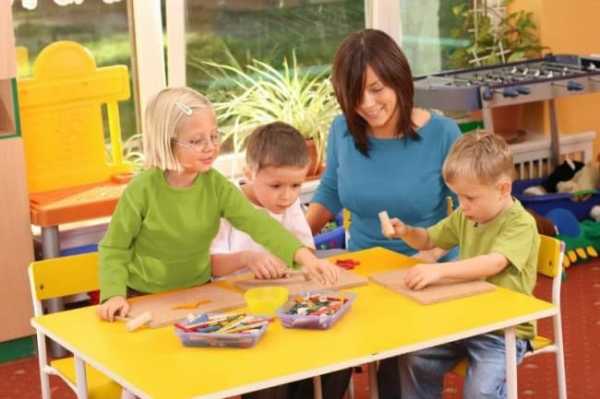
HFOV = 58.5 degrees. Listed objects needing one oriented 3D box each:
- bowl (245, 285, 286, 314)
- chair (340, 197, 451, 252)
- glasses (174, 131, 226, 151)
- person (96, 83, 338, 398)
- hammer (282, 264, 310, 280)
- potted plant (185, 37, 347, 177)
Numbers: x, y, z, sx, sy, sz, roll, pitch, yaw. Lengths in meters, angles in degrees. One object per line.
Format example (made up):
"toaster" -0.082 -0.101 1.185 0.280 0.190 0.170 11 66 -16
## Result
"bowl" -0.103 0.300 1.648 0.142 0.062 0.141 -1 -14 0
"chair" 0.399 0.094 2.493 0.297 0.295 0.291 3 19 35
"glasses" -0.310 -0.181 1.672 0.131 0.055 0.049 -11 11 -33
"person" -0.213 -0.001 2.021 0.838 1.072 0.733 -16 40 -43
"hammer" -0.012 0.238 1.742 0.066 0.020 0.063 -2 5 4
"potted plant" -0.207 -0.584 3.626 0.961 0.560 0.898 1 12 -8
